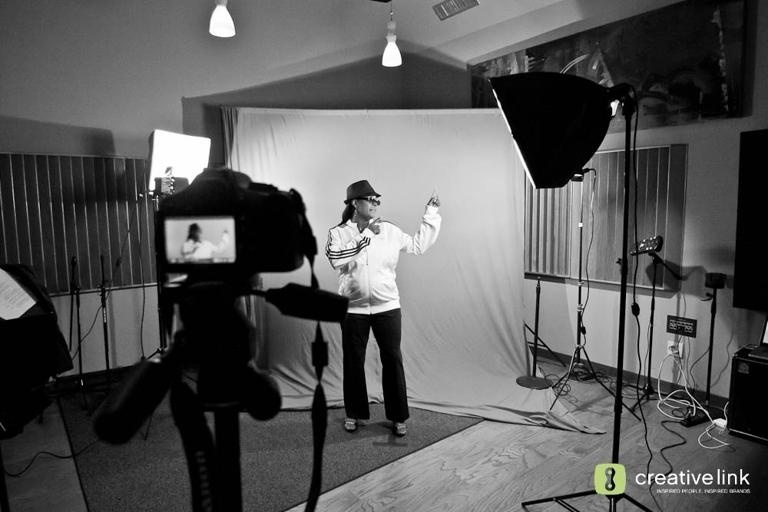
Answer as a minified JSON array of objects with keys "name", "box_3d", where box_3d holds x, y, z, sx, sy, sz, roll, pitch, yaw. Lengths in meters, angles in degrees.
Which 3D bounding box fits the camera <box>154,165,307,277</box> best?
[{"name":"camera","box_3d":[-0.813,-0.184,2.983,0.722,0.536,0.774,5,5,25]}]

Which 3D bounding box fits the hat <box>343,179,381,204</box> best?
[{"name":"hat","box_3d":[-0.199,-0.532,4.637,0.258,0.188,0.168,1,7,6]}]

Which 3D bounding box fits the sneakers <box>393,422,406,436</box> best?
[{"name":"sneakers","box_3d":[0.121,1.454,4.648,0.101,0.061,0.154,2,1,3]}]

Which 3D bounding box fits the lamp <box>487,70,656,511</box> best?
[{"name":"lamp","box_3d":[1.257,0.398,3.502,0.686,2.944,1.660,5,8,39]}]

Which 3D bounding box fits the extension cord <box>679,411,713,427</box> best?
[{"name":"extension cord","box_3d":[2.709,1.432,4.836,0.306,0.077,0.118,-4,8,-30]}]
